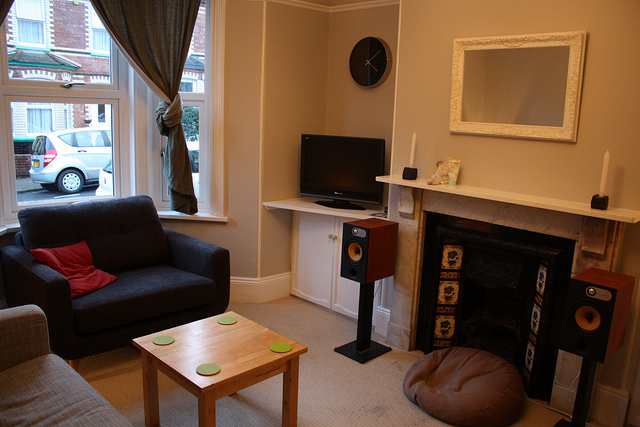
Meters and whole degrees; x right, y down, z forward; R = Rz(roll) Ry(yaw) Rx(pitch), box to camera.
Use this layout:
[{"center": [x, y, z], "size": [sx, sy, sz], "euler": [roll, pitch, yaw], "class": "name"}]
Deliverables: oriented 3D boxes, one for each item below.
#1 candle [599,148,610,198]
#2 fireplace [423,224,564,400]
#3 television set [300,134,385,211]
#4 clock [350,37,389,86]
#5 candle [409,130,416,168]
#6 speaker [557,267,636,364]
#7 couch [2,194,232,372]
[{"center": [1.932, -0.282, 3.188], "size": [0.040, 0.313, 0.190], "euler": [9, 16, 31], "class": "candle"}, {"center": [1.409, 0.764, 3.710], "size": [1.030, 1.426, 0.442], "euler": [14, 16, 39], "class": "fireplace"}, {"center": [0.193, -0.451, 4.650], "size": [0.865, 0.629, 0.100], "euler": [7, 16, 26], "class": "television set"}, {"center": [0.500, -1.515, 4.648], "size": [0.495, 0.573, 0.103], "euler": [2, 2, 38], "class": "clock"}, {"center": [0.775, -0.534, 3.940], "size": [0.041, 0.280, 0.090], "euler": [3, 14, 12], "class": "candle"}, {"center": [1.864, 0.674, 3.167], "size": [0.422, 0.525, 0.297], "euler": [-13, 19, -43], "class": "speaker"}, {"center": [-1.767, 0.836, 4.234], "size": [1.396, 1.523, 1.837], "euler": [7, 10, 44], "class": "couch"}]
